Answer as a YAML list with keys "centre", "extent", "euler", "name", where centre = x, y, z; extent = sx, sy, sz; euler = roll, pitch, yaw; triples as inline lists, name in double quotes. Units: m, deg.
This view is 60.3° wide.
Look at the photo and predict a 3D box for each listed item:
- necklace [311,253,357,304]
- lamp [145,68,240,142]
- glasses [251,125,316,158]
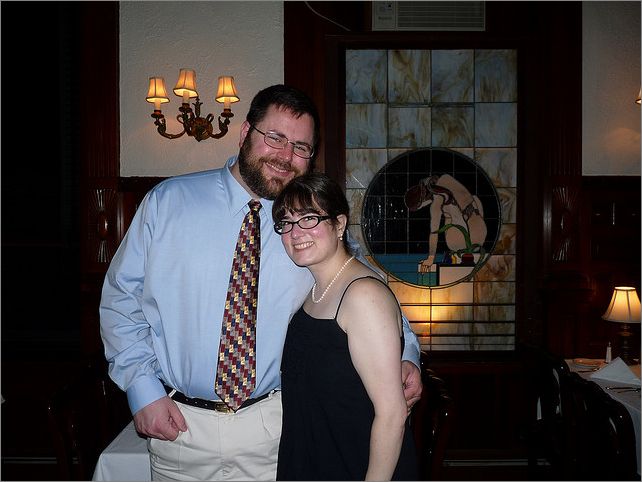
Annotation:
- centre: [0.059, 0.224, 3.255]
  extent: [0.013, 0.299, 0.211]
  euler: [34, -31, -29]
  name: "necklace"
- centre: [-1.380, -1.265, 5.291]
  extent: [0.562, 0.543, 0.848]
  euler: [-3, 3, -41]
  name: "lamp"
- centre: [-0.207, -0.587, 3.356]
  extent: [0.227, 0.074, 0.230]
  euler: [26, 1, -24]
  name: "glasses"
